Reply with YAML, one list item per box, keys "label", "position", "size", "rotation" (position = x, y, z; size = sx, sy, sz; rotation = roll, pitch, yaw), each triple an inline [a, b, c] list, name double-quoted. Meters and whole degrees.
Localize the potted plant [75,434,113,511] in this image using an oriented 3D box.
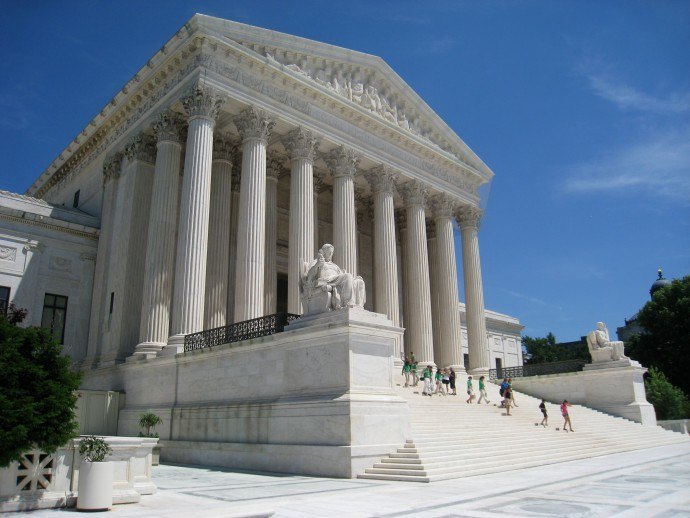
- label: "potted plant"
  position: [-5.295, 4.477, 10.128]
  size: [0.834, 1.433, 0.451]
  rotation: [-6, -18, 16]
